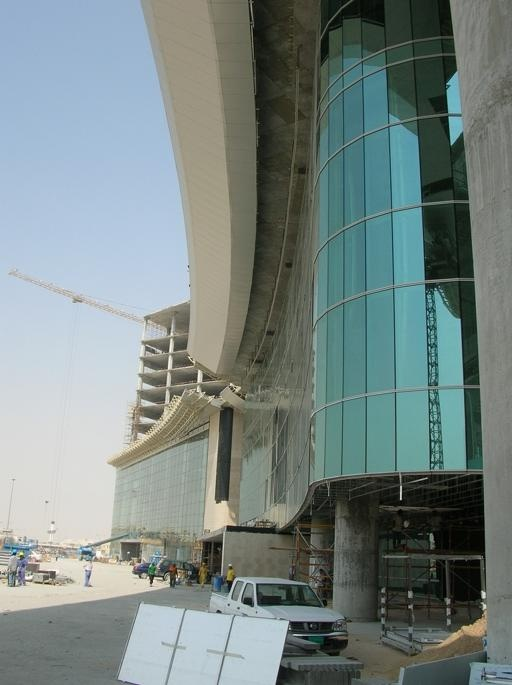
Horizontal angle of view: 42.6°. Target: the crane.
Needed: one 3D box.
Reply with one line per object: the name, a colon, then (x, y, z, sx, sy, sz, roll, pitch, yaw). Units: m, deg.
crane: (-40.034, -9.046, 184.154, 29.082, 3.381, 2.834, 16, 3, 30)
